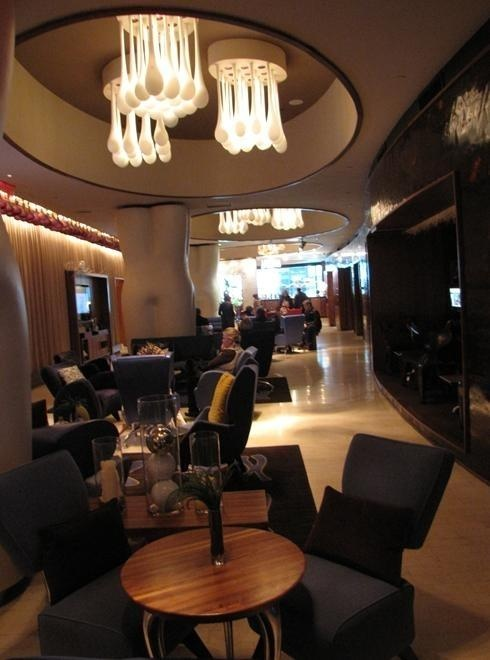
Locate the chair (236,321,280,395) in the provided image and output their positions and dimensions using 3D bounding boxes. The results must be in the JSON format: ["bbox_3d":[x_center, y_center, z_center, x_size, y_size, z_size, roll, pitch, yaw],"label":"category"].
[{"bbox_3d":[0.341,0.612,9.183,0.934,1.072,0.978,3,-18,-5],"label":"chair"}]

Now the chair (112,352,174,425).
[{"bbox_3d":[-1.328,0.782,5.970,0.869,1.037,0.860,2,9,-9],"label":"chair"}]

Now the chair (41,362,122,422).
[{"bbox_3d":[-1.953,0.770,5.654,0.912,0.751,0.883,-1,-1,23],"label":"chair"}]

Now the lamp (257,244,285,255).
[{"bbox_3d":[1.038,-3.188,18.833,0.701,0.291,0.713,0,0,-15],"label":"lamp"}]

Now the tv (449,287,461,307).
[{"bbox_3d":[2.762,-0.387,6.196,0.094,0.334,2.100,-2,5,23],"label":"tv"}]

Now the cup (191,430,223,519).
[{"bbox_3d":[-0.189,0.608,2.263,0.180,0.190,0.318,8,12,-5],"label":"cup"}]

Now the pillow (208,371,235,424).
[{"bbox_3d":[-0.197,0.569,3.975,0.136,0.347,0.400,15,-42,-9],"label":"pillow"}]

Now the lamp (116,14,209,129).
[{"bbox_3d":[-0.650,-2.073,3.654,0.439,0.616,0.462,-3,3,-7],"label":"lamp"}]

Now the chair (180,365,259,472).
[{"bbox_3d":[-0.248,0.668,3.795,0.672,0.764,0.669,3,5,26],"label":"chair"}]

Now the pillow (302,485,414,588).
[{"bbox_3d":[0.439,0.812,1.868,0.122,0.264,0.423,30,-21,-35],"label":"pillow"}]
